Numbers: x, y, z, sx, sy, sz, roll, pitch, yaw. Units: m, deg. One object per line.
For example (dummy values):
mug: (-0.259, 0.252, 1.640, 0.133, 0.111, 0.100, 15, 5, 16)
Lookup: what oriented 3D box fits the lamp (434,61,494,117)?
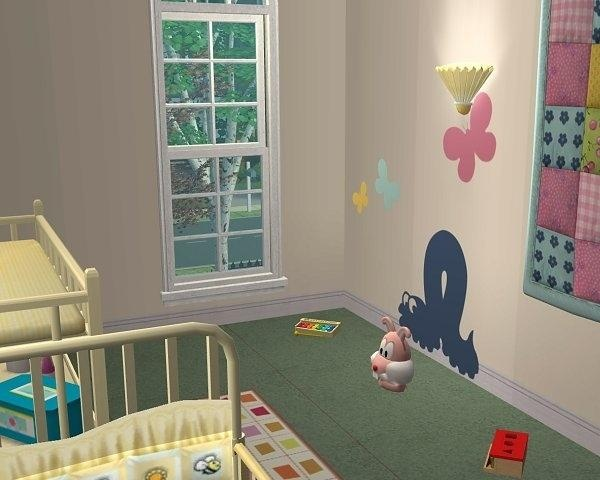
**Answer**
lamp: (1.010, -0.928, 2.964, 0.341, 0.293, 0.349, 7, 12, 30)
